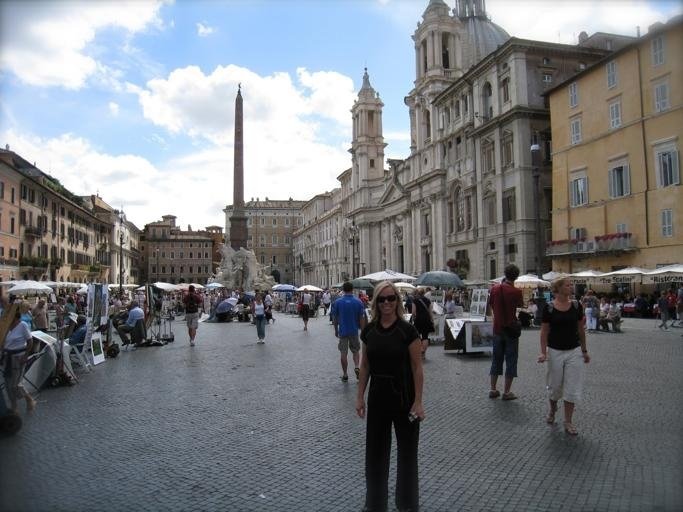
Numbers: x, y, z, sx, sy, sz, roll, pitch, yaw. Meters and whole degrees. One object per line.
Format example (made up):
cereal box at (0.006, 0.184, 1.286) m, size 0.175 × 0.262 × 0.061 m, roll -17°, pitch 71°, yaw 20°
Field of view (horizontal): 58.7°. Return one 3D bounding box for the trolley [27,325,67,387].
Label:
trolley at (-6.189, 2.171, 12.530) m, size 0.831 × 1.079 × 0.968 m, roll 2°, pitch -4°, yaw -12°

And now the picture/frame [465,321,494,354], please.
picture/frame at (3.873, 2.234, 16.791) m, size 0.875 × 0.891 × 0.312 m, roll -1°, pitch -1°, yaw -1°

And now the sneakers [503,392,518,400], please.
sneakers at (3.091, 2.555, 11.140) m, size 0.243 × 0.110 × 0.119 m, roll -1°, pitch 0°, yaw -18°

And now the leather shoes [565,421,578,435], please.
leather shoes at (3.495, 2.625, 9.267) m, size 0.187 × 0.163 × 0.256 m, roll -3°, pitch -4°, yaw 19°

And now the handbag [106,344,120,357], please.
handbag at (-6.549, 2.709, 17.440) m, size 0.293 × 0.321 × 0.306 m, roll -9°, pitch -2°, yaw -9°

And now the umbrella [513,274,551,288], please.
umbrella at (8.690, 1.151, 27.631) m, size 1.081 × 0.378 × 1.148 m, roll 4°, pitch -5°, yaw -9°

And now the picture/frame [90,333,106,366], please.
picture/frame at (-6.380, 2.376, 15.858) m, size 0.029 × 0.850 × 1.141 m, roll -7°, pitch -7°, yaw -35°

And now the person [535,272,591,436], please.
person at (3.524, 1.531, 9.649) m, size 0.657 × 2.360 × 0.737 m, roll -3°, pitch -4°, yaw 28°

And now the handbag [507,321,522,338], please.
handbag at (3.130, 1.342, 11.081) m, size 0.246 × 0.313 × 0.130 m, roll 0°, pitch -4°, yaw -16°

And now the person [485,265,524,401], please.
person at (3.048, 1.393, 11.327) m, size 0.646 × 2.483 × 0.562 m, roll -2°, pitch -3°, yaw 4°

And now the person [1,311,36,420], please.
person at (-5.652, 1.807, 10.532) m, size 0.396 × 1.587 × 0.464 m, roll -3°, pitch -4°, yaw 22°
